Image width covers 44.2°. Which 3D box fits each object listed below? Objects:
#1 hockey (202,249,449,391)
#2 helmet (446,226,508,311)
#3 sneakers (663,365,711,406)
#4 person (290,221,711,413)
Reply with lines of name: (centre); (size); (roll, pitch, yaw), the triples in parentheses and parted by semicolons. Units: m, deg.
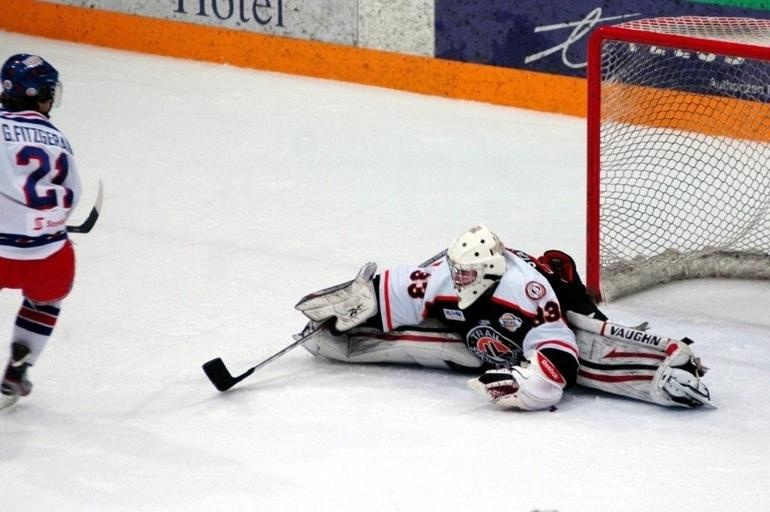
hockey: (-0.088, 0.337, 4.715); (1.593, 0.199, 0.146); (-17, 11, -25)
helmet: (0.420, 0.050, 4.320); (0.304, 0.319, 0.297); (2, 18, 30)
sneakers: (1.330, 0.581, 4.139); (0.253, 0.188, 0.089); (0, 14, -23)
person: (0.412, 0.317, 4.372); (1.374, 0.469, 1.086); (9, 18, 36)
